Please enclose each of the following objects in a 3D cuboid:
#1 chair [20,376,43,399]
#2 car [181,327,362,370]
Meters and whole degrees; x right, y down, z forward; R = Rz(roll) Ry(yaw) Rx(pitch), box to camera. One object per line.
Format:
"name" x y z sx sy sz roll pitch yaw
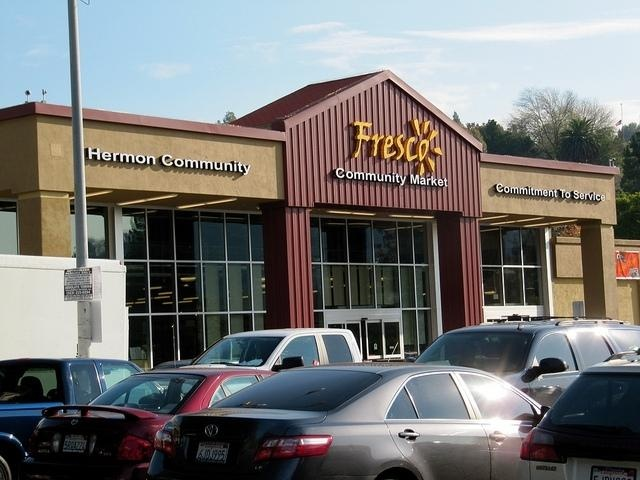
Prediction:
"chair" -3.898 2.012 11.464 0.237 0.224 0.300 1 0 1
"car" -0.561 1.981 15.356 2.028 0.820 1.228 10 -13 -42
